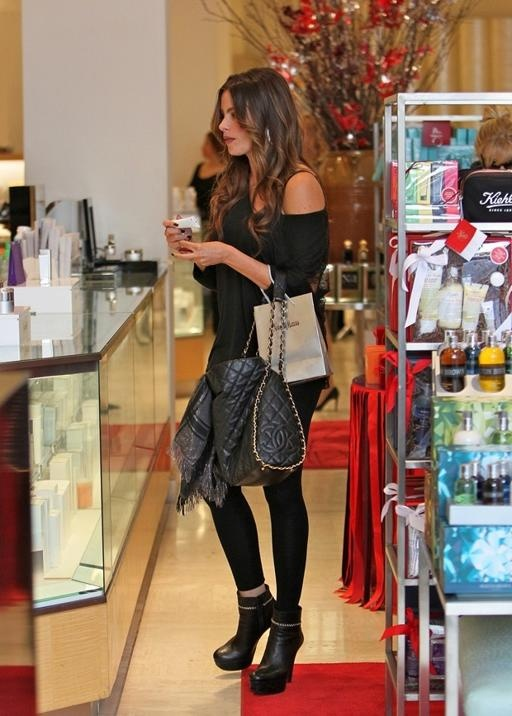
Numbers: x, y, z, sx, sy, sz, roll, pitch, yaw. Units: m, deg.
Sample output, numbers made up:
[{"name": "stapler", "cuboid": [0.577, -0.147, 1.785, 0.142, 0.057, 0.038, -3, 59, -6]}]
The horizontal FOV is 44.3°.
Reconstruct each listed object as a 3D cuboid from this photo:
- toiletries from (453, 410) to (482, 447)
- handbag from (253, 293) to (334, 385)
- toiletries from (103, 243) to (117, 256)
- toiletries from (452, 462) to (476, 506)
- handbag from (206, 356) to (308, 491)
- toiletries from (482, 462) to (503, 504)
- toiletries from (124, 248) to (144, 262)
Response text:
[{"name": "toiletries", "cuboid": [0.320, 0.106, 0.958, 0.040, 0.049, 0.058, 1, 6, 18]}, {"name": "handbag", "cuboid": [0.089, -0.050, 1.741, 0.195, 0.256, 0.094, -16, 14, 3]}, {"name": "toiletries", "cuboid": [-0.821, -0.606, 3.570, 0.074, 0.081, 0.073, -4, 6, -36]}, {"name": "toiletries", "cuboid": [0.285, 0.174, 0.861, 0.030, 0.053, 0.035, 1, 6, 17]}, {"name": "handbag", "cuboid": [-0.004, 0.169, 1.691, 0.138, 0.313, 0.318, -13, -6, -20]}, {"name": "toiletries", "cuboid": [0.321, 0.171, 0.851, 0.029, 0.054, 0.022, -3, 6, -22]}, {"name": "toiletries", "cuboid": [-0.691, -0.561, 3.506, 0.108, 0.071, 0.107, 0, 3, -3]}]
